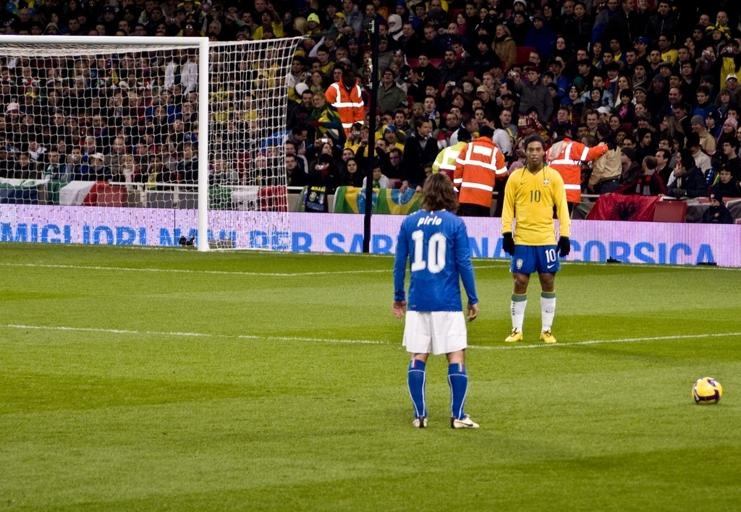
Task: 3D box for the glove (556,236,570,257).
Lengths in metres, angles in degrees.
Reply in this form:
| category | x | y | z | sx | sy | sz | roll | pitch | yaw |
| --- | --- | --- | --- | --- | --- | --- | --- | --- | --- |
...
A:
| category | x | y | z | sx | sy | sz | roll | pitch | yaw |
| --- | --- | --- | --- | --- | --- | --- | --- | --- | --- |
| glove | 2.324 | -0.109 | 15.664 | 0.169 | 0.229 | 0.078 | -2 | -8 | 44 |

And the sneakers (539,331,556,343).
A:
| category | x | y | z | sx | sy | sz | roll | pitch | yaw |
| --- | --- | --- | --- | --- | --- | --- | --- | --- | --- |
| sneakers | 2.068 | 0.959 | 15.452 | 0.127 | 0.086 | 0.206 | 5 | -1 | 10 |

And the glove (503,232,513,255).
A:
| category | x | y | z | sx | sy | sz | roll | pitch | yaw |
| --- | --- | --- | --- | --- | --- | --- | --- | --- | --- |
| glove | 1.621 | -0.143 | 15.606 | 0.170 | 0.222 | 0.231 | 0 | -2 | 2 |

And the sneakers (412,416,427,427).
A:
| category | x | y | z | sx | sy | sz | roll | pitch | yaw |
| --- | --- | --- | --- | --- | --- | --- | --- | --- | --- |
| sneakers | 0.445 | 1.512 | 11.975 | 0.139 | 0.095 | 0.189 | -1 | 2 | 2 |

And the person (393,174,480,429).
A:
| category | x | y | z | sx | sy | sz | roll | pitch | yaw |
| --- | --- | --- | --- | --- | --- | --- | --- | --- | --- |
| person | 0.591 | 0.395 | 12.150 | 0.771 | 2.329 | 0.652 | -1 | 2 | 1 |

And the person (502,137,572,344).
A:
| category | x | y | z | sx | sy | sz | roll | pitch | yaw |
| --- | --- | --- | --- | --- | --- | --- | --- | --- | --- |
| person | 1.960 | -0.204 | 15.626 | 0.779 | 2.427 | 0.631 | -1 | 2 | 6 |

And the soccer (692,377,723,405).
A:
| category | x | y | z | sx | sy | sz | roll | pitch | yaw |
| --- | --- | --- | --- | --- | --- | --- | --- | --- | --- |
| soccer | 3.238 | 1.273 | 12.643 | 0.241 | 0.255 | 0.257 | 11 | 26 | 21 |

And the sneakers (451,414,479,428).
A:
| category | x | y | z | sx | sy | sz | roll | pitch | yaw |
| --- | --- | --- | --- | --- | --- | --- | --- | --- | --- |
| sneakers | 0.852 | 1.507 | 11.947 | 0.251 | 0.105 | 0.100 | 0 | 2 | -4 |

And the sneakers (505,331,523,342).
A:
| category | x | y | z | sx | sy | sz | roll | pitch | yaw |
| --- | --- | --- | --- | --- | --- | --- | --- | --- | --- |
| sneakers | 1.692 | 0.962 | 15.519 | 0.091 | 0.107 | 0.252 | -2 | -4 | 30 |
